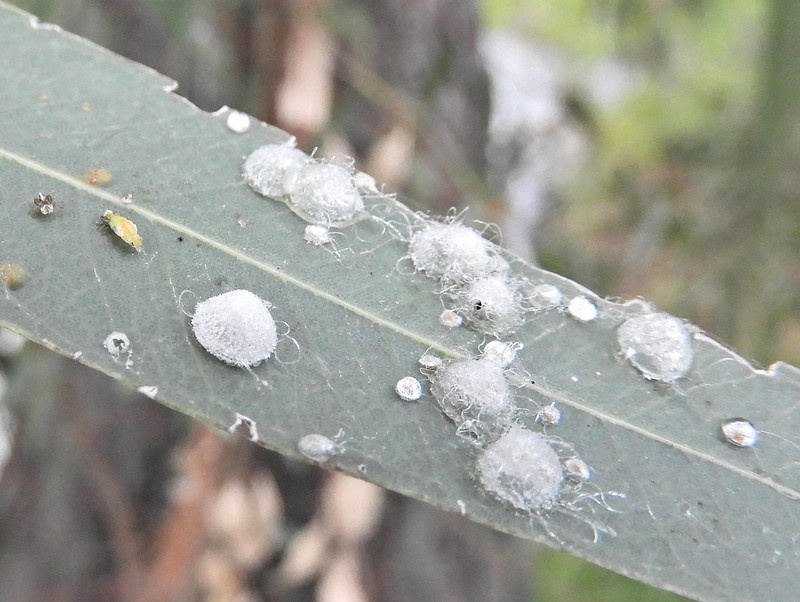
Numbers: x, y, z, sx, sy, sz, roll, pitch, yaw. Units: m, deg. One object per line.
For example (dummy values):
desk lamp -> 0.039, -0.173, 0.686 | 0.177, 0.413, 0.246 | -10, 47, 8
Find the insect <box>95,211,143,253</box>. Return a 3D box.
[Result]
insect -> -0.534, -0.125, 1.640 | 0.095, 0.022, 0.056 | 39, 66, -14
